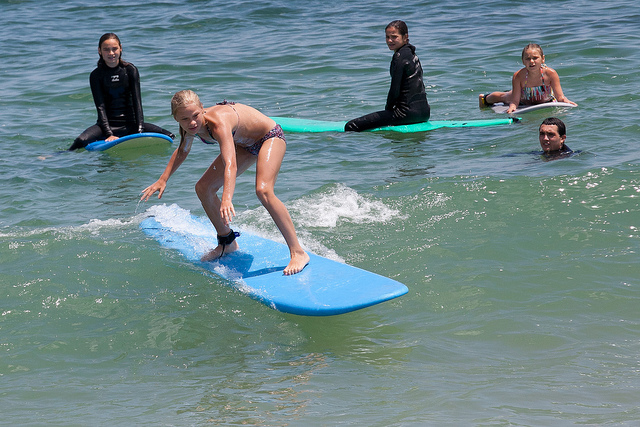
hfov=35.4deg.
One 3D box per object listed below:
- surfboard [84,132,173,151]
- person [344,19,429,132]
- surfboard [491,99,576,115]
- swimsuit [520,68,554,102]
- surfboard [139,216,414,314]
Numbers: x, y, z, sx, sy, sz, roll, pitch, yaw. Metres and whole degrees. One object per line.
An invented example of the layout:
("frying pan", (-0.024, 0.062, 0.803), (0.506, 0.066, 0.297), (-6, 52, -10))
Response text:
("surfboard", (-3.311, -1.227, 17.301), (1.497, 0.260, 0.380), (-7, 12, -9))
("person", (1.138, -2.373, 17.514), (1.283, 1.873, 0.424), (-10, 16, -1))
("surfboard", (3.721, -1.822, 17.848), (0.416, 0.160, 1.385), (-29, 21, -33))
("swimsuit", (3.826, -2.372, 18.161), (0.505, 0.563, 0.621), (2, 43, 9))
("surfboard", (-0.502, 0.791, 13.226), (5.038, 0.423, 1.177), (11, 21, 38))
